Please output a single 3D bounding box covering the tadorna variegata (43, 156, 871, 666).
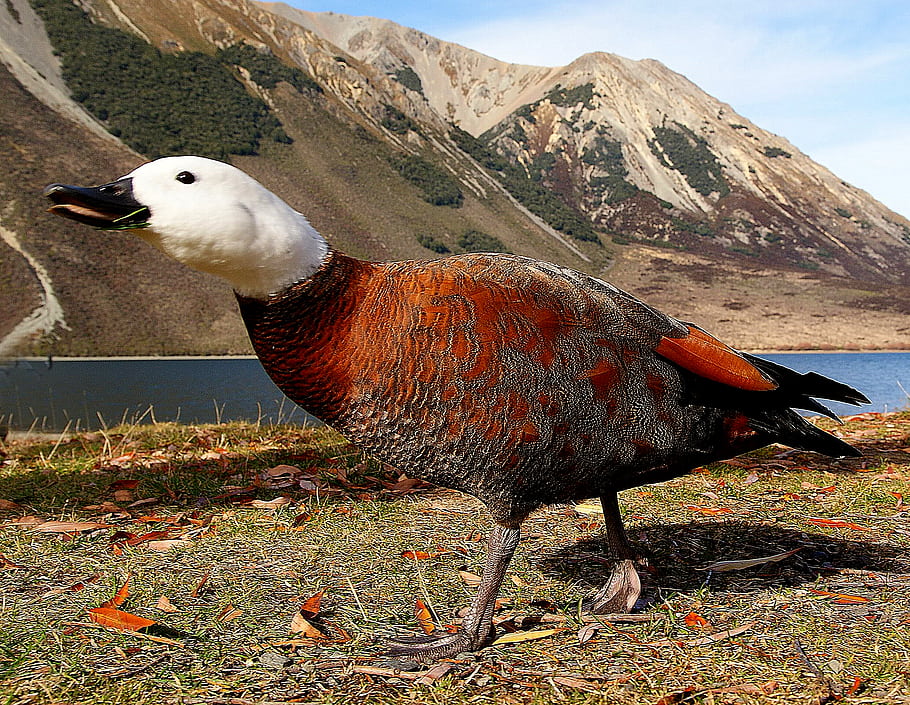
[{"bbox_3d":[0.092,0.118,5.393,3.764,2.328,0.681,-2,18,-11],"label":"tadorna variegata"}]
